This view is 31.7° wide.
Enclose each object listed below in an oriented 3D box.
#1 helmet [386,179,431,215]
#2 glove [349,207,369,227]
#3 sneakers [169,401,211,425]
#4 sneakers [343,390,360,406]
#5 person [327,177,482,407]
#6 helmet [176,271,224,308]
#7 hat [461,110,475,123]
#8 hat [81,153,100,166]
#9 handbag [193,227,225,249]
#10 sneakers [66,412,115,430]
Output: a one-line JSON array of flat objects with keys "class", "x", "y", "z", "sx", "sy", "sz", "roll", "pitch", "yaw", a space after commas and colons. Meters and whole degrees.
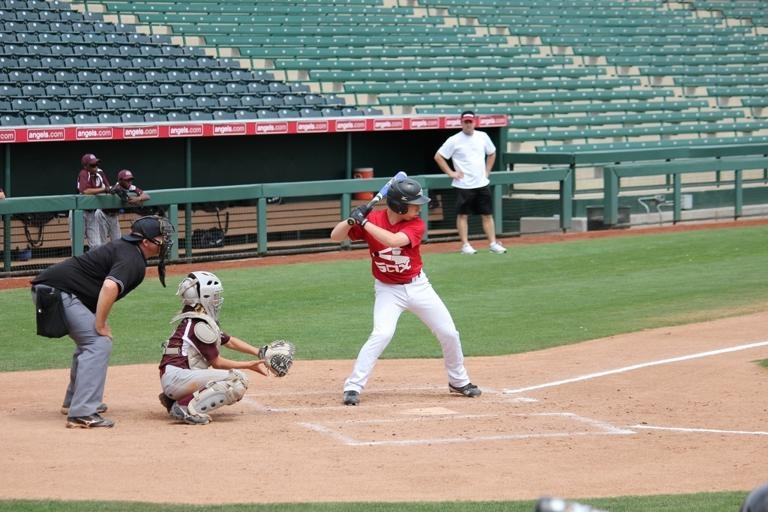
[{"class": "helmet", "x": 0.279, "y": -0.852, "z": 18.553, "sx": 0.759, "sy": 0.353, "sz": 0.414, "roll": -1, "pitch": 16, "yaw": 1}, {"class": "glove", "x": -0.348, "y": -0.550, "z": 18.461, "sx": 0.284, "sy": 0.264, "sz": 0.314, "roll": -1, "pitch": 5, "yaw": 7}, {"class": "sneakers", "x": -2.580, "y": 2.105, "z": 18.026, "sx": 0.598, "sy": 0.183, "sz": 0.257, "roll": 5, "pitch": 8, "yaw": 9}, {"class": "sneakers", "x": -0.461, "y": 1.944, "z": 18.596, "sx": 0.208, "sy": 0.210, "sz": 0.075, "roll": -3, "pitch": 7, "yaw": -5}, {"class": "person", "x": 0.229, "y": 0.438, "z": 18.721, "sx": 1.854, "sy": 3.171, "sz": 0.741, "roll": -4, "pitch": 7, "yaw": -9}, {"class": "helmet", "x": -2.485, "y": 0.426, "z": 18.192, "sx": 0.734, "sy": 0.350, "sz": 0.438, "roll": -4, "pitch": 6, "yaw": -11}, {"class": "hat", "x": 1.547, "y": -2.647, "z": 25.463, "sx": 0.407, "sy": 0.174, "sz": 0.453, "roll": -1, "pitch": -4, "yaw": 4}, {"class": "hat", "x": -5.300, "y": -1.732, "z": 24.381, "sx": 0.289, "sy": 0.205, "sz": 0.305, "roll": 0, "pitch": 6, "yaw": 22}, {"class": "handbag", "x": -3.354, "y": -0.358, "z": 25.935, "sx": 0.597, "sy": 0.396, "sz": 0.178, "roll": -2, "pitch": 6, "yaw": -7}, {"class": "sneakers", "x": -3.884, "y": 2.192, "z": 17.907, "sx": 0.654, "sy": 0.179, "sz": 0.204, "roll": -1, "pitch": -1, "yaw": -5}]
